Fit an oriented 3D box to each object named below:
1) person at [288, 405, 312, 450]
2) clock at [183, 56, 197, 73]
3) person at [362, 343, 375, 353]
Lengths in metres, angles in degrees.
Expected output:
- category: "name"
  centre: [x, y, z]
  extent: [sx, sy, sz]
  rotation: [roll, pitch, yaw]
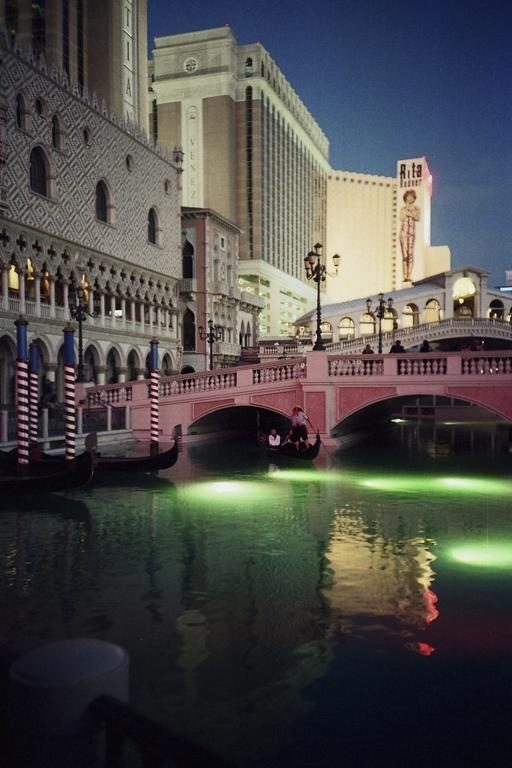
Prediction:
- category: "person"
  centre: [1.069, 1.087, 20.735]
  extent: [0.482, 1.013, 1.121]
  rotation: [-2, 4, 1]
- category: "clock"
  centre: [-5.977, -29.711, 76.124]
  extent: [1.423, 1.598, 0.638]
  rotation: [0, 4, 26]
- category: "person"
  centre: [5.387, -1.742, 39.355]
  extent: [0.504, 0.575, 1.348]
  rotation: [8, -7, 13]
